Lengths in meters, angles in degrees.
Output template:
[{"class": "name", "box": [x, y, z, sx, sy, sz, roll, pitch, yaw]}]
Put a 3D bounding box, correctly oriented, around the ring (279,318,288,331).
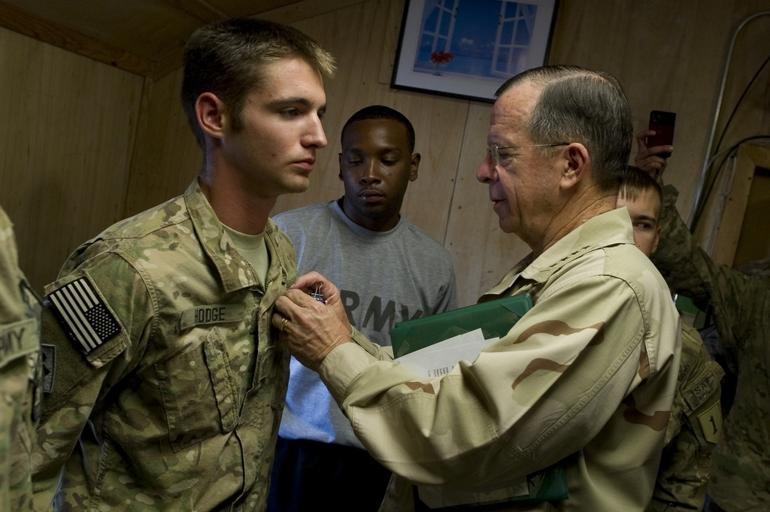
[{"class": "ring", "box": [-0.289, 0.196, 1.748, 0.011, 0.030, 0.021, 2, 5, -41]}]
